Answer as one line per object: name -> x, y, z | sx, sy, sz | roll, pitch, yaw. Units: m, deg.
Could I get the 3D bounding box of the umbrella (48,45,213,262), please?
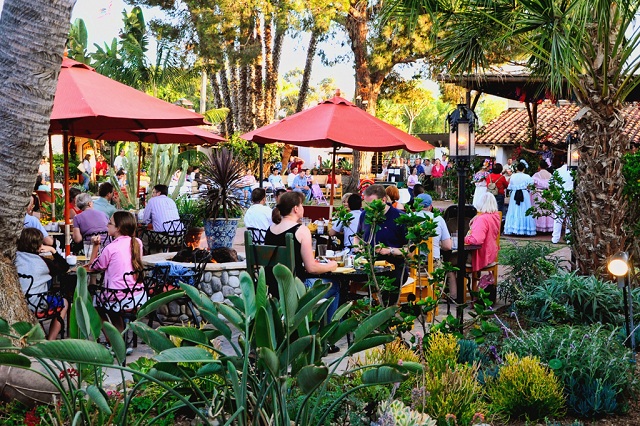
umbrella -> -2.664, -0.772, 9.235 | 2.409, 2.378, 2.577 | -1, 0, -9

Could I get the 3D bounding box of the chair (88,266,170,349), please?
chair -> -2.270, 1.140, 7.935 | 0.943, 0.742, 0.835 | 1, -1, -15

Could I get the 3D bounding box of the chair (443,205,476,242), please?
chair -> 2.466, 0.202, 11.520 | 0.428, 0.624, 0.610 | 8, -4, 17

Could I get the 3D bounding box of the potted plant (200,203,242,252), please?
potted plant -> -1.753, 0.243, 11.577 | 0.646, 0.769, 0.706 | 1, -4, -7

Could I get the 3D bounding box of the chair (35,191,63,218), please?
chair -> -5.534, -0.148, 13.444 | 0.498, 0.524, 0.513 | 3, -5, -42

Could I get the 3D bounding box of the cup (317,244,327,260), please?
cup -> 0.003, 0.491, 8.275 | 0.120, 0.218, 0.140 | 0, 6, 16

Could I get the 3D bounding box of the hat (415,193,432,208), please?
hat -> 1.410, -0.167, 9.044 | 0.205, 0.180, 0.324 | 8, 11, 14

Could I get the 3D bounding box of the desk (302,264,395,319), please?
desk -> 0.347, 0.986, 8.018 | 1.010, 0.736, 0.862 | 1, -1, 11

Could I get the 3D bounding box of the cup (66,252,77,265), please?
cup -> -3.168, 0.595, 8.417 | 0.116, 0.125, 0.121 | 0, -2, 0

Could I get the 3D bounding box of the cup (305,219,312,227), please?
cup -> -0.221, 0.157, 10.487 | 0.090, 0.106, 0.180 | -1, -4, 2

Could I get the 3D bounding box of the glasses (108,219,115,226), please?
glasses -> -2.569, 0.121, 8.118 | 0.068, 0.104, 0.086 | -2, 6, -5

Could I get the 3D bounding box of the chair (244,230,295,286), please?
chair -> -0.497, 0.450, 6.599 | 0.365, 0.727, 0.391 | 7, 20, 23

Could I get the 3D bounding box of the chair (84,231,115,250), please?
chair -> -2.976, 0.363, 8.867 | 0.185, 0.220, 0.258 | 1, -25, -8

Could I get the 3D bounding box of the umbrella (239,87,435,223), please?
umbrella -> 0.198, -1.007, 11.737 | 2.099, 1.833, 2.210 | 1, 2, -2
